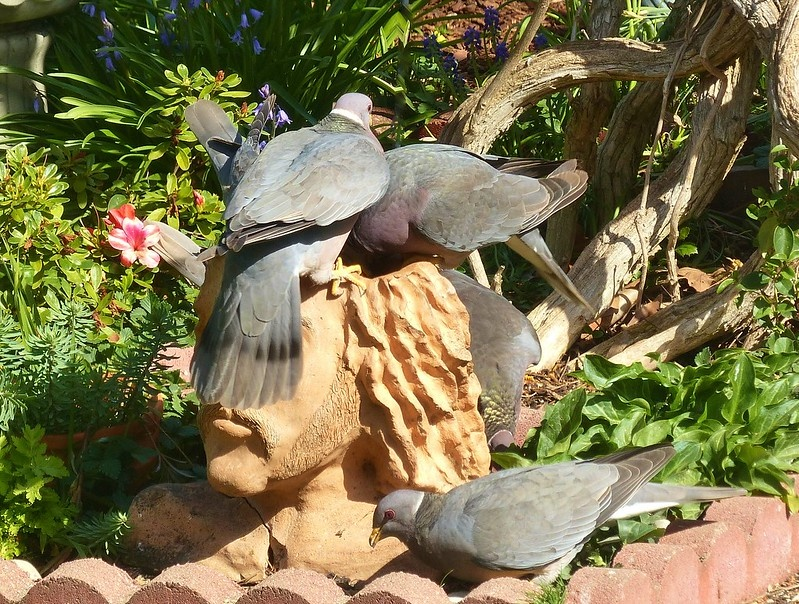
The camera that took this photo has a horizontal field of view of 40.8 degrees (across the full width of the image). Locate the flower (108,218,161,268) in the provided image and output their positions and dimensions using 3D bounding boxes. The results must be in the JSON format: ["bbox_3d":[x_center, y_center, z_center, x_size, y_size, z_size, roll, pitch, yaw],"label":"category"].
[{"bbox_3d":[-1.286,-0.291,5.206,0.279,0.233,0.079,5,56,-51],"label":"flower"}]

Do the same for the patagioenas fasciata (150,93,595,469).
[{"bbox_3d":[-0.280,-0.162,4.585,1.555,1.018,1.274,-36,36,-23],"label":"patagioenas fasciata"}]

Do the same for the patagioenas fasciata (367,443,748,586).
[{"bbox_3d":[0.478,0.837,4.205,1.111,0.661,0.338,9,30,-13],"label":"patagioenas fasciata"}]
